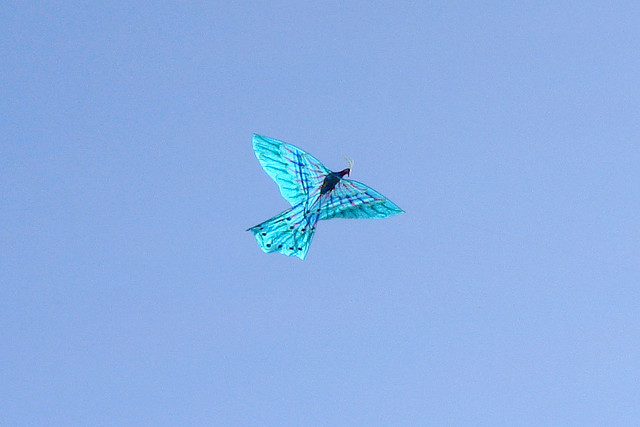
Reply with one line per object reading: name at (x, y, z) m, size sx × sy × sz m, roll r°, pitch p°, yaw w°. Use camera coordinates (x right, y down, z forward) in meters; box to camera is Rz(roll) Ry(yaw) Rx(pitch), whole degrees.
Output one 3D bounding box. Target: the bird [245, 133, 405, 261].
bird at (-0.072, -0.035, 10.088) m, size 1.226 × 0.464 × 0.979 m, roll 10°, pitch -79°, yaw -2°
